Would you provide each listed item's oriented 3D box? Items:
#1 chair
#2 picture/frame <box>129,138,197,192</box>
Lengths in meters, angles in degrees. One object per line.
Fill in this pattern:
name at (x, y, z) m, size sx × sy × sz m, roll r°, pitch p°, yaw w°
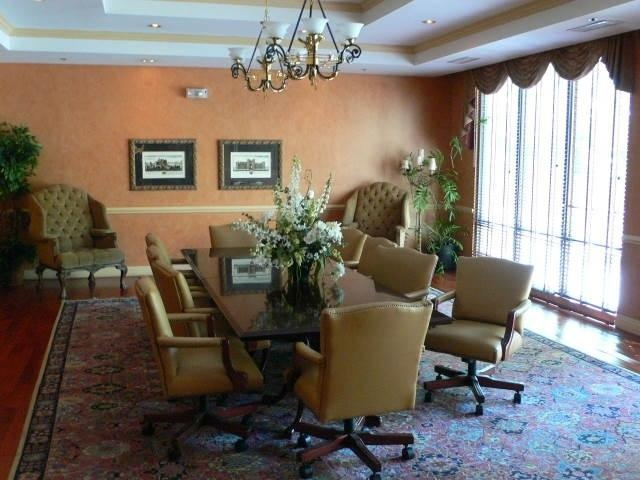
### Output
chair at (0.216, 0.827, 3.672) m, size 1.151 × 1.480 × 1.105 m, roll -1°, pitch 14°, yaw -17°
picture/frame at (-2.560, -1.219, 7.969) m, size 0.900 × 0.696 × 0.063 m, roll 0°, pitch 5°, yaw -14°
